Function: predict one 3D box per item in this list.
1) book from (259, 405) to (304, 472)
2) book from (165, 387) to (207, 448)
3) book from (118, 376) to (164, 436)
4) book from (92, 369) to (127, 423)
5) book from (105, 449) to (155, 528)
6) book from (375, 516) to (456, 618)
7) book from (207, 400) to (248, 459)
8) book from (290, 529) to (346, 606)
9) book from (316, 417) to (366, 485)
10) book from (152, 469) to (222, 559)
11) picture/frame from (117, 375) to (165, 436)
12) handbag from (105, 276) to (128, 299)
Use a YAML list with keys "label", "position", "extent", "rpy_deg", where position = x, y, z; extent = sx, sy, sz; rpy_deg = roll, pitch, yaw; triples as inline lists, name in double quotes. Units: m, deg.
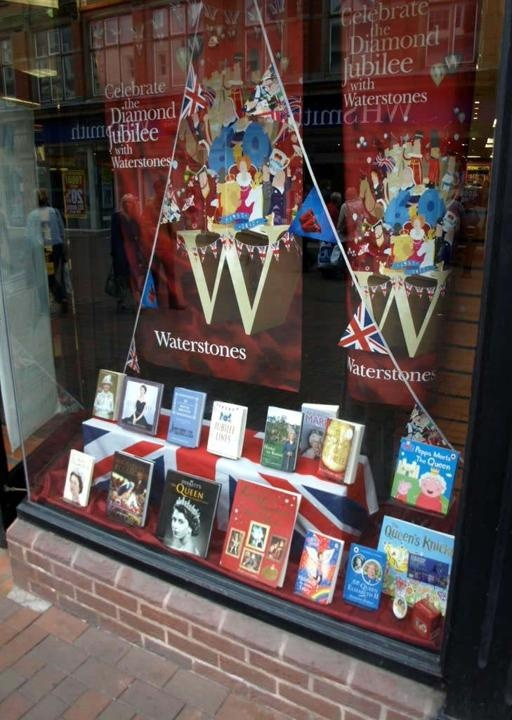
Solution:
- label: "book"
  position: [0.105, 0.311, 2.083]
  extent: [0.217, 0.310, 0.032]
  rpy_deg: [6, -9, 36]
- label: "book"
  position: [-0.284, 0.246, 2.302]
  extent: [0.204, 0.222, 0.049]
  rpy_deg: [2, -9, 36]
- label: "book"
  position: [-0.519, 0.218, 2.450]
  extent: [0.222, 0.262, 0.036]
  rpy_deg: [10, -4, 33]
- label: "book"
  position: [-0.697, 0.177, 2.579]
  extent: [0.210, 0.286, 0.050]
  rpy_deg: [7, -4, 36]
- label: "book"
  position: [-0.546, 0.572, 2.367]
  extent: [0.292, 0.401, 0.055]
  rpy_deg: [11, 5, 39]
- label: "book"
  position: [0.512, 0.699, 1.794]
  extent: [0.248, 0.282, 0.113]
  rpy_deg: [8, 11, 35]
- label: "book"
  position: [-0.113, 0.289, 2.179]
  extent: [0.180, 0.237, 0.070]
  rpy_deg: [9, -9, 37]
- label: "book"
  position: [0.221, 0.728, 1.904]
  extent: [0.158, 0.230, 0.058]
  rpy_deg: [6, -9, 37]
- label: "book"
  position: [0.306, 0.327, 1.962]
  extent: [0.159, 0.226, 0.051]
  rpy_deg: [14, 3, 34]
- label: "book"
  position: [-0.270, 0.630, 2.183]
  extent: [0.321, 0.393, 0.042]
  rpy_deg: [9, -1, 37]
- label: "picture/frame"
  position: [-0.520, 0.215, 2.453]
  extent: [0.227, 0.258, 0.036]
  rpy_deg: [11, -4, 33]
- label: "handbag"
  position: [-0.660, -0.347, 2.554]
  extent: [0.080, 0.083, 0.038]
  rpy_deg: [20, 27, 32]
